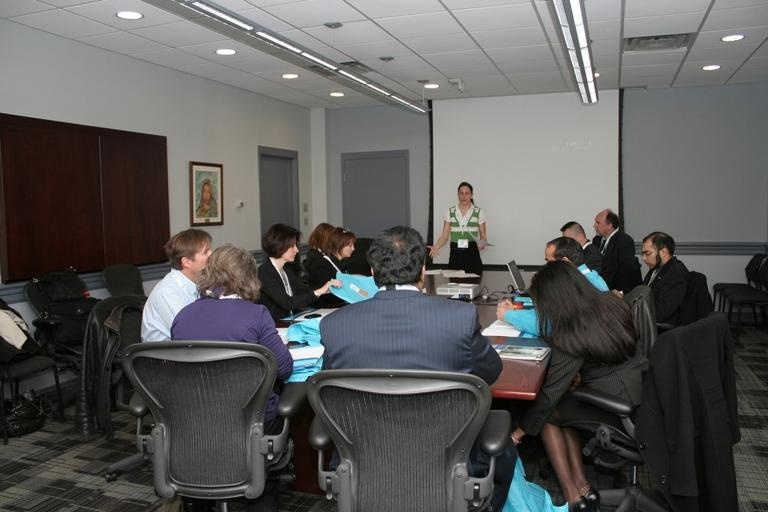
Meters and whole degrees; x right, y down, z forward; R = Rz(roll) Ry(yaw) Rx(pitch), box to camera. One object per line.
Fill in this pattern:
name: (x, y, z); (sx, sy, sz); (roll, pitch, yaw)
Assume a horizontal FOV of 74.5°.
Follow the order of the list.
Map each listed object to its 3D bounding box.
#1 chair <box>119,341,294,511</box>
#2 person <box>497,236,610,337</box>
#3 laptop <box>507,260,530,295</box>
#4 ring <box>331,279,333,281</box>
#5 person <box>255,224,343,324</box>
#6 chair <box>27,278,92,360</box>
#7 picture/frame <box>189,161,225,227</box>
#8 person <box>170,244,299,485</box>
chair: (-0.909, 0.843, 2.946); (0.762, 1.222, 0.839); (1, 7, -1)
person: (1.390, 0.231, 4.266); (0.834, 0.757, 1.191); (10, -4, 17)
laptop: (1.389, 0.219, 5.282); (0.274, 0.328, 0.447); (3, 7, 16)
ring: (-0.475, 0.215, 4.649); (0.017, 0.027, 0.030); (-2, -9, 18)
person: (-0.824, 0.423, 4.623); (0.763, 1.343, 0.603); (2, 10, -11)
chair: (-3.040, 0.605, 4.712); (0.577, 0.739, 0.589); (-17, -9, 32)
picture/frame: (-2.376, -0.843, 6.735); (0.056, 0.925, 0.779); (5, 10, 27)
person: (-0.919, 0.655, 3.084); (0.735, 1.420, 0.753); (-7, 12, -36)
